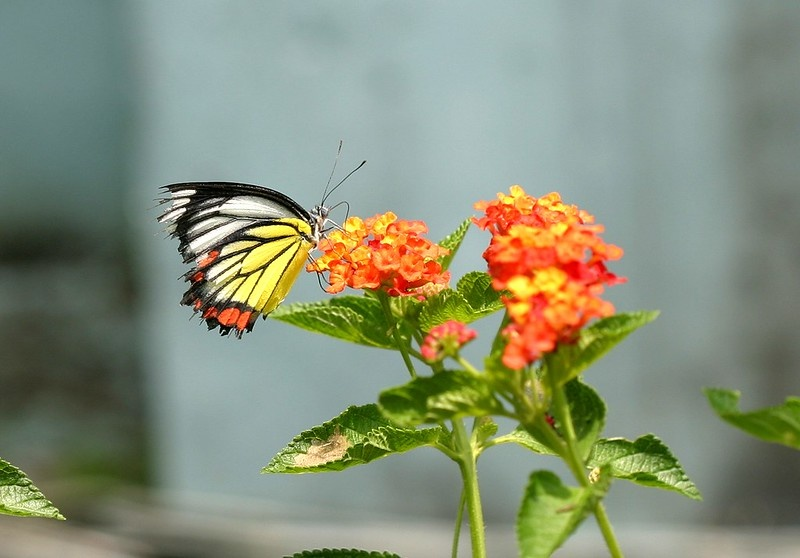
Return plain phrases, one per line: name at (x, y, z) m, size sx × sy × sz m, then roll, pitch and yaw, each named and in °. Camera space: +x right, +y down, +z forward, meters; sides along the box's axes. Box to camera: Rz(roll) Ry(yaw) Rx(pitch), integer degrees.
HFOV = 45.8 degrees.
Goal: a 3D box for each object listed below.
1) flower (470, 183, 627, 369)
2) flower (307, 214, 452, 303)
flower at (0.548, -0.021, 3.489) m, size 0.535 × 0.701 × 0.313 m, roll -1°, pitch -6°, yaw 4°
flower at (-0.077, -0.089, 3.546) m, size 0.354 × 0.145 × 0.368 m, roll 9°, pitch 32°, yaw -3°
